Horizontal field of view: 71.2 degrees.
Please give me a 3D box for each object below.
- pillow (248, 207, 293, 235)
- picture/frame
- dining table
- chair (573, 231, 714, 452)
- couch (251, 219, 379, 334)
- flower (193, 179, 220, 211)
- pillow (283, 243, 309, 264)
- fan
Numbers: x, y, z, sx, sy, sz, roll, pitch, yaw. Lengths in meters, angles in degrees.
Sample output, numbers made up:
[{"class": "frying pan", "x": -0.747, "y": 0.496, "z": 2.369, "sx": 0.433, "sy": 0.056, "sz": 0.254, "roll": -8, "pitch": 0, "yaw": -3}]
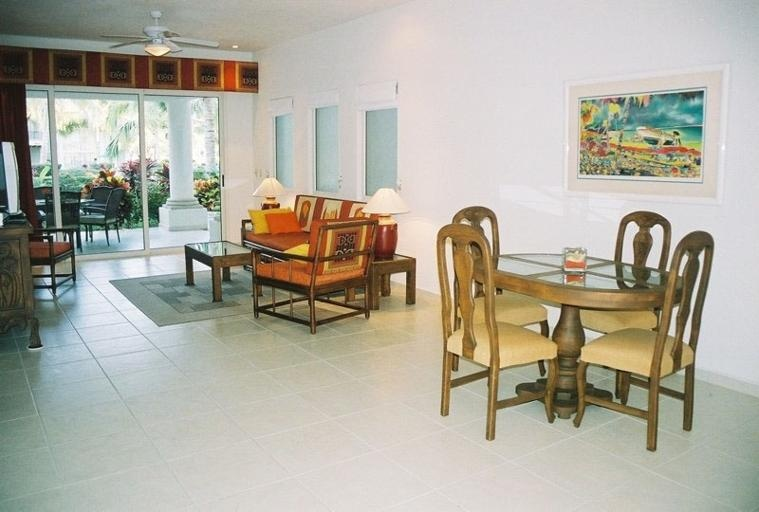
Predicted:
[{"class": "pillow", "x": -1.876, "y": -0.574, "z": 8.434, "sx": 0.592, "sy": 0.446, "sz": 0.158, "roll": -5, "pitch": -13, "yaw": -26}, {"class": "picture/frame", "x": 2.524, "y": -1.131, "z": 4.870, "sx": 1.752, "sy": 1.050, "sz": 0.036, "roll": 6, "pitch": 9, "yaw": 45}, {"class": "dining table", "x": 1.672, "y": 0.350, "z": 4.328, "sx": 1.369, "sy": 1.085, "sz": 1.853, "roll": -6, "pitch": 12, "yaw": -26}, {"class": "chair", "x": 1.974, "y": 0.570, "z": 3.979, "sx": 0.795, "sy": 1.537, "sz": 0.731, "roll": 5, "pitch": 12, "yaw": 29}, {"class": "couch", "x": -0.682, "y": 0.083, "z": 6.543, "sx": 1.652, "sy": 1.377, "sz": 1.213, "roll": 10, "pitch": 12, "yaw": 40}, {"class": "flower", "x": -3.434, "y": -1.237, "z": 10.596, "sx": 0.468, "sy": 0.648, "sz": 0.206, "roll": 1, "pitch": 11, "yaw": 9}, {"class": "pillow", "x": -0.906, "y": -0.048, "z": 5.940, "sx": 0.277, "sy": 0.070, "sz": 0.276, "roll": -20, "pitch": 23, "yaw": -40}, {"class": "fan", "x": -3.264, "y": -3.354, "z": 7.858, "sx": 1.265, "sy": 0.390, "sz": 1.024, "roll": -7, "pitch": 17, "yaw": -25}]
